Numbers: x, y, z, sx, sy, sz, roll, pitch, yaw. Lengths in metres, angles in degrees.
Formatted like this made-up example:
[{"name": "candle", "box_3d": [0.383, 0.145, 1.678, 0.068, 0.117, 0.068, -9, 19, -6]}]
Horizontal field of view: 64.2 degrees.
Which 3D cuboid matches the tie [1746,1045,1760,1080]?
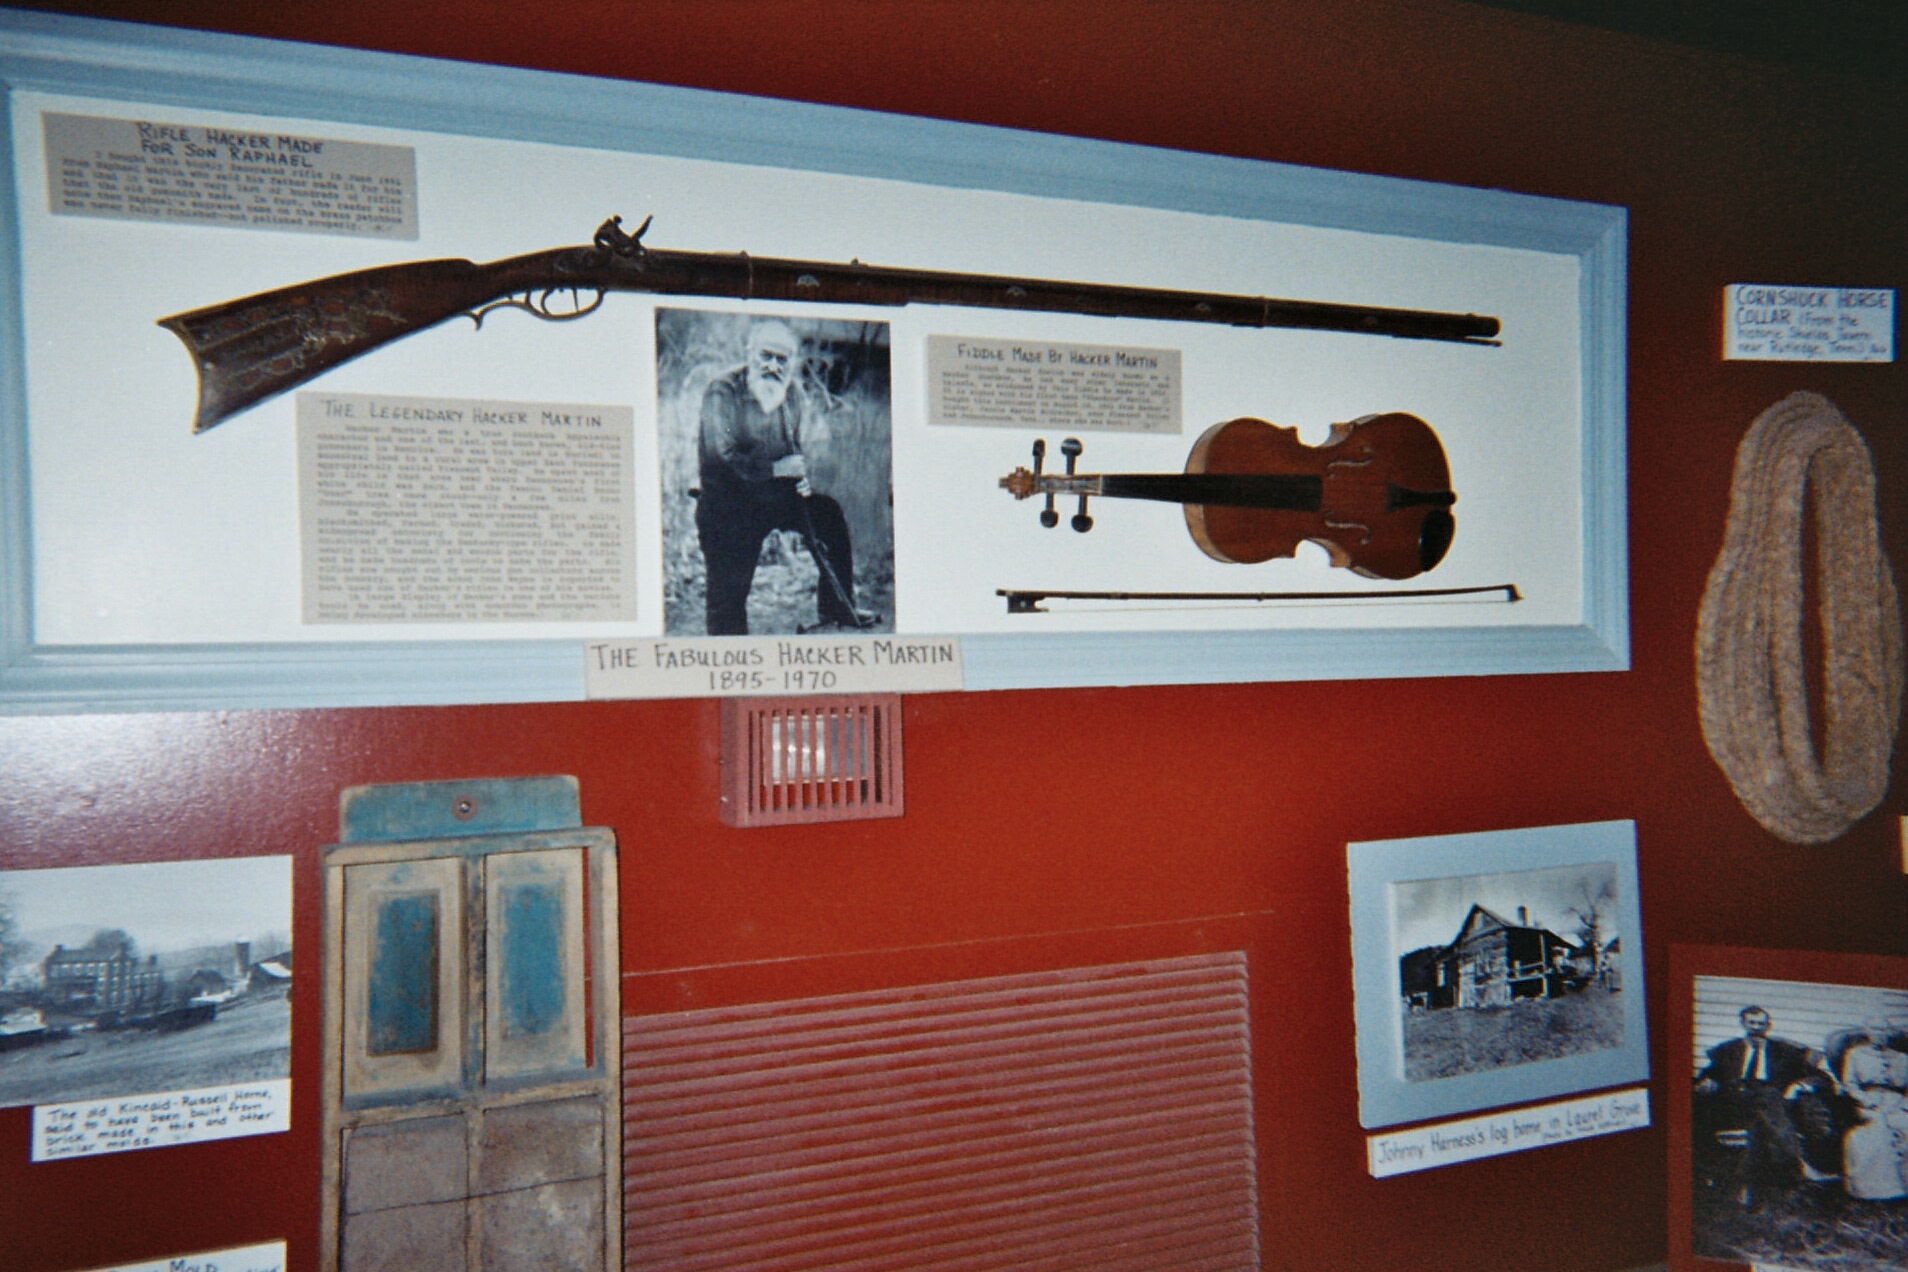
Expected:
[{"name": "tie", "box_3d": [1.653, 0.875, 3.150, 0.036, 0.060, 0.016, -2, -12, 9]}]
